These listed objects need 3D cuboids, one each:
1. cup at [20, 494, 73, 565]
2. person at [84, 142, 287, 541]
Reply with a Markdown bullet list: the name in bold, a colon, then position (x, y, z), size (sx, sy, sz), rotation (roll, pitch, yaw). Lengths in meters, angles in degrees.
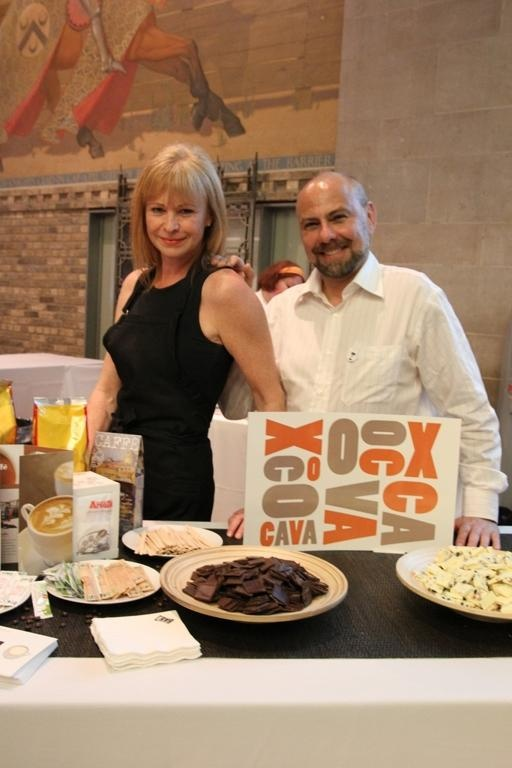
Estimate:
- **cup**: position (-0.322, 0.225, 1.053), size (0.076, 0.095, 0.114), rotation (-15, 21, -37)
- **person**: position (-0.185, -0.116, 1.565), size (0.486, 0.894, 0.249), rotation (8, 6, 29)
